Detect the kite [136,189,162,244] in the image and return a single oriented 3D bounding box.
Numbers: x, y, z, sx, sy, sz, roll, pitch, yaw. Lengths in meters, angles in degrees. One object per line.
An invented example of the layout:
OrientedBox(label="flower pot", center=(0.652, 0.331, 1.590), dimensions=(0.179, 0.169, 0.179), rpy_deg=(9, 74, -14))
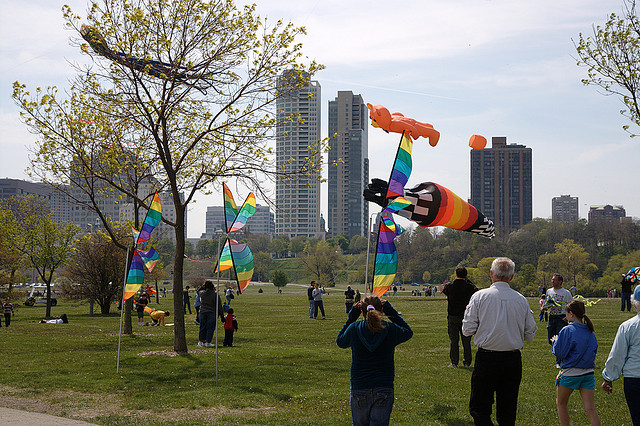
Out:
OrientedBox(label="kite", center=(-10.766, 0.237, 69.701), dimensions=(0.869, 3.511, 1.756), rpy_deg=(-2, -5, 26))

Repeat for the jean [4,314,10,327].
OrientedBox(label="jean", center=(-23.074, 7.889, 81.145), dimensions=(0.308, 0.910, 1.581), rpy_deg=(2, -5, -14))

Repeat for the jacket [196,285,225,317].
OrientedBox(label="jacket", center=(-7.200, 5.834, 70.928), dimensions=(2.040, 1.718, 1.249), rpy_deg=(3, 4, -3))

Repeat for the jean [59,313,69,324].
OrientedBox(label="jean", center=(-19.512, 8.041, 83.854), dimensions=(0.705, 0.693, 1.698), rpy_deg=(2, -5, -12))

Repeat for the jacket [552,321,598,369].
OrientedBox(label="jacket", center=(14.062, 7.291, 60.799), dimensions=(2.197, 2.589, 0.456), rpy_deg=(1, -5, -4))

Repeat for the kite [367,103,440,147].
OrientedBox(label="kite", center=(5.188, -5.316, 67.547), dimensions=(4.565, 1.734, 2.246), rpy_deg=(11, 9, 1))
